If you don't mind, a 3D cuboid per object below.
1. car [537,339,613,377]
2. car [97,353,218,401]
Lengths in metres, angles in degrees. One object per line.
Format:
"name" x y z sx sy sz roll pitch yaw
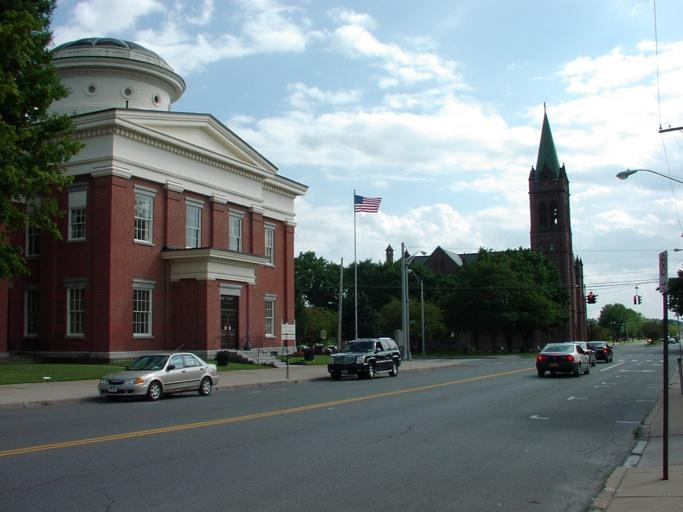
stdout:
"car" 11.081 5.182 36.464 1.641 1.603 3.296 -1 -3 38
"car" -6.598 4.419 26.725 1.773 1.292 3.728 -9 -15 31
